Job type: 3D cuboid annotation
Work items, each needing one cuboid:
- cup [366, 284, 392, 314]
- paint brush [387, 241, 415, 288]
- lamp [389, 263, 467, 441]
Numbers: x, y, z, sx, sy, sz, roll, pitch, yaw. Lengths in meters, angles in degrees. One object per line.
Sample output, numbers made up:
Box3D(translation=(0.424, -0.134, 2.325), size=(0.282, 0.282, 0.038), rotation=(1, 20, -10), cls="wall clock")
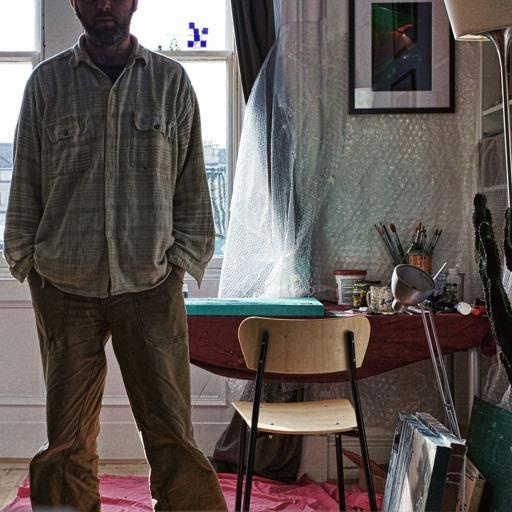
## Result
Box3D(translation=(0.491, 0.168, 2.429), size=(0.065, 0.119, 0.104), rotation=(2, -10, -9), cls="cup")
Box3D(translation=(0.637, 0.001, 2.683), size=(0.056, 0.300, 0.050), rotation=(9, -3, -16), cls="paint brush")
Box3D(translation=(0.640, 0.357, 2.241), size=(0.223, 0.819, 0.195), rotation=(-10, 41, 10), cls="lamp")
